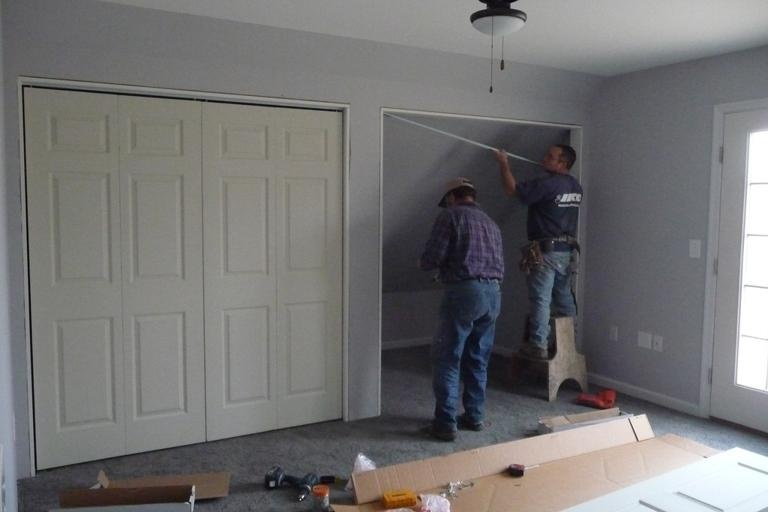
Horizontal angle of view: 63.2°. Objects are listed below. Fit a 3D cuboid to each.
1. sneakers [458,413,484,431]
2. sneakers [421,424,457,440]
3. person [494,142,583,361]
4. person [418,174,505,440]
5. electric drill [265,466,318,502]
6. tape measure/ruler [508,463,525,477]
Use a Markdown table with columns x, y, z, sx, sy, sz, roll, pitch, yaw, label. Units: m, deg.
| x | y | z | sx | sy | sz | roll | pitch | yaw | label |
| --- | --- | --- | --- | --- | --- | --- | --- | --- | --- |
| 0.681 | 1.333 | 5.110 | 0.093 | 0.109 | 0.242 | -7 | 13 | -34 | sneakers |
| 0.429 | 1.381 | 4.977 | 0.264 | 0.113 | 0.100 | 10 | 11 | 38 | sneakers |
| 1.505 | -0.062 | 5.781 | 1.026 | 1.905 | 0.450 | -9 | 13 | -38 | person |
| 0.610 | 0.397 | 5.009 | 0.705 | 1.989 | 0.430 | -7 | 12 | -31 | person |
| -0.651 | 1.562 | 4.373 | 0.335 | 0.147 | 0.248 | 4 | 12 | 26 | electric drill |
| 0.909 | 1.480 | 4.335 | 0.119 | 0.062 | 0.071 | 1 | 11 | 10 | tape measure/ruler |
